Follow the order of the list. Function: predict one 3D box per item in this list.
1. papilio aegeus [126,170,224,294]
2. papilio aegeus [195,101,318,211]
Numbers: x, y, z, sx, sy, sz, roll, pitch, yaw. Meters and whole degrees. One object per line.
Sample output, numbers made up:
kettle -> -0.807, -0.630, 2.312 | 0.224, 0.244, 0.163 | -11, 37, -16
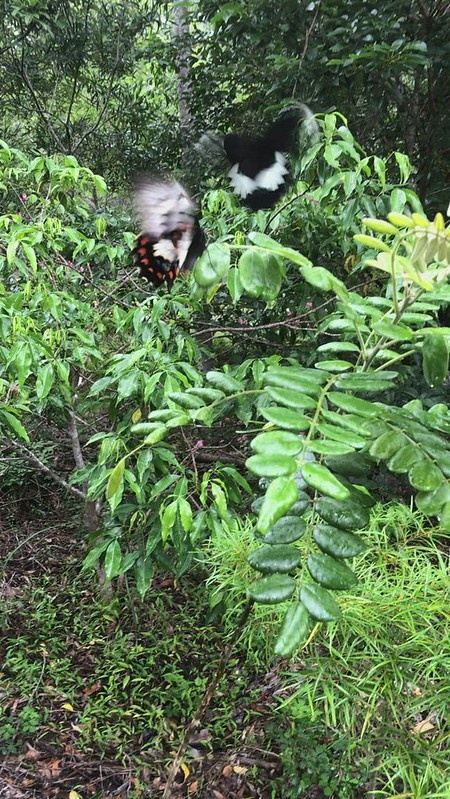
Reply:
papilio aegeus -> -0.200, -0.570, 2.444 | 0.254, 0.456, 0.515 | 5, 22, -7
papilio aegeus -> 0.148, -0.891, 2.528 | 0.279, 0.393, 0.628 | 5, 22, -6
